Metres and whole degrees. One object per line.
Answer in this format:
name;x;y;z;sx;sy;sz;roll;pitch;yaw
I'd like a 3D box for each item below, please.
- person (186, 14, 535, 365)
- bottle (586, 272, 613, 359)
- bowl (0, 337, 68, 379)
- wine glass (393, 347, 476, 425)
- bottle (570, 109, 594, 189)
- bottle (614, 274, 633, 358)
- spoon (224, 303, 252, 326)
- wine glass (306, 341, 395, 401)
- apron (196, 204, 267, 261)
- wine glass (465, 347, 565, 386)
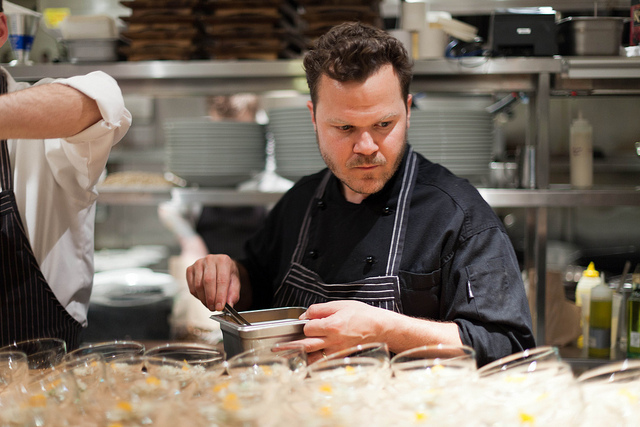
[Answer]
person;0.169;-0.122;2.467;0.757;1.138;0.937;-4;7;-27
bottle;1.290;0.496;3.091;0.104;0.317;0.151;1;7;24
bowl;-0.834;0.415;1.982;0.141;0.076;0.136;0;-3;0
wine glass;0.289;0.430;1.730;0.186;0.187;0.185;-4;-6;-4
bottle;1.181;-0.272;3.023;0.086;0.306;0.089;-1;6;0
bottle;1.433;0.479;3.155;0.070;0.329;0.288;2;7;26
spoon;-0.265;0.333;2.206;0.037;0.025;0.146;-46;39;-11
wine glass;0.104;0.404;1.789;0.159;0.129;0.150;-3;-5;-12
apron;-0.477;0.098;3.627;0.303;0.365;0.204;1;-10;-1
wine glass;0.539;0.383;1.829;0.149;0.141;0.139;-6;-7;-17
